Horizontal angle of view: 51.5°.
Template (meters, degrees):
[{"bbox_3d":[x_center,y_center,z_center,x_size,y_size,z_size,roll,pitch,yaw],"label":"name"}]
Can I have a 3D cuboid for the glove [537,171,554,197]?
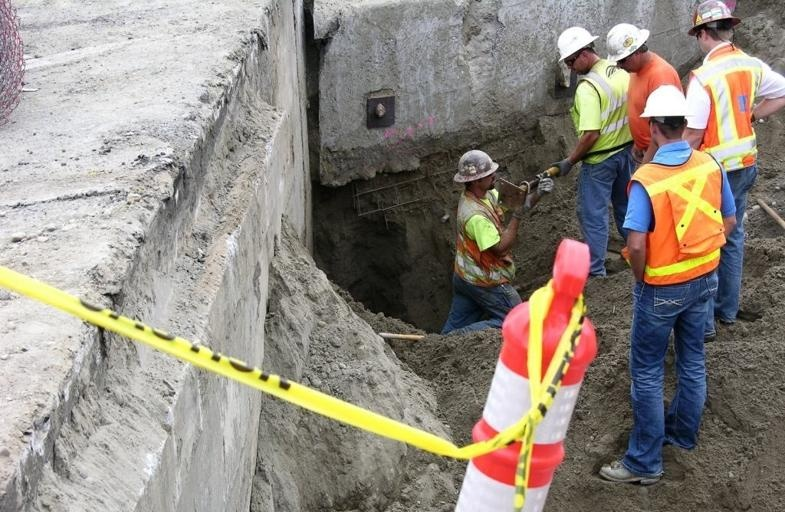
[{"bbox_3d":[1.256,-0.597,6.722,0.115,0.157,0.273,-2,27,14],"label":"glove"}]

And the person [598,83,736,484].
[{"bbox_3d":[1.663,0.247,4.948,0.461,2.389,0.848,13,33,39],"label":"person"}]

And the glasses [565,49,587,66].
[{"bbox_3d":[1.514,-1.656,6.807,0.128,0.036,0.097,-40,-7,17],"label":"glasses"}]

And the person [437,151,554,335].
[{"bbox_3d":[0.821,-0.075,7.023,0.881,1.707,0.835,-17,26,-17],"label":"person"}]

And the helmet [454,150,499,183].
[{"bbox_3d":[0.678,-0.747,6.757,0.294,0.147,0.284,-34,20,-8],"label":"helmet"}]

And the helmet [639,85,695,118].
[{"bbox_3d":[1.582,-0.888,4.677,0.178,0.124,0.226,0,9,2],"label":"helmet"}]
